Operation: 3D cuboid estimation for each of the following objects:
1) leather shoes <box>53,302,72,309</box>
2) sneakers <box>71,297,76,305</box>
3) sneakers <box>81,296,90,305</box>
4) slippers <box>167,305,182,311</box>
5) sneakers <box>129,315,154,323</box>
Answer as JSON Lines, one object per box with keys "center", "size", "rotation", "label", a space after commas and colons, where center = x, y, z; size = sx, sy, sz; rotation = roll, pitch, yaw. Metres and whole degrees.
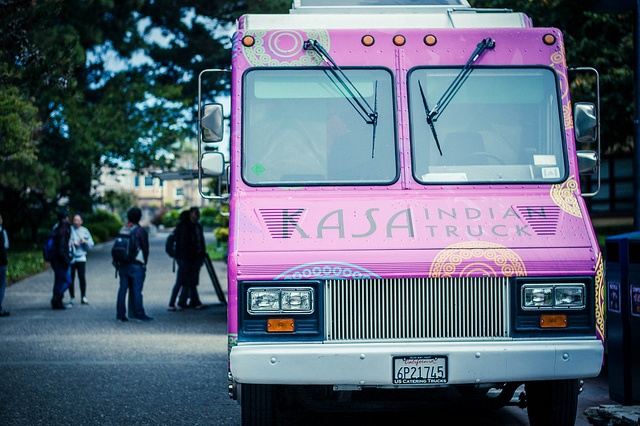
{"center": [-5.735, 2.085, 20.620], "size": [0.377, 0.186, 0.136], "rotation": [-1, 5, -16], "label": "leather shoes"}
{"center": [-5.693, 2.042, 21.307], "size": [0.084, 0.162, 0.150], "rotation": [-1, 4, 3], "label": "sneakers"}
{"center": [-5.436, 2.067, 21.465], "size": [0.104, 0.238, 0.312], "rotation": [1, -6, -38], "label": "sneakers"}
{"center": [-3.191, 2.095, 20.379], "size": [0.296, 0.134, 0.110], "rotation": [-2, 4, -25], "label": "slippers"}
{"center": [-3.637, 2.184, 19.045], "size": [0.398, 0.196, 0.173], "rotation": [-2, 0, 4], "label": "sneakers"}
